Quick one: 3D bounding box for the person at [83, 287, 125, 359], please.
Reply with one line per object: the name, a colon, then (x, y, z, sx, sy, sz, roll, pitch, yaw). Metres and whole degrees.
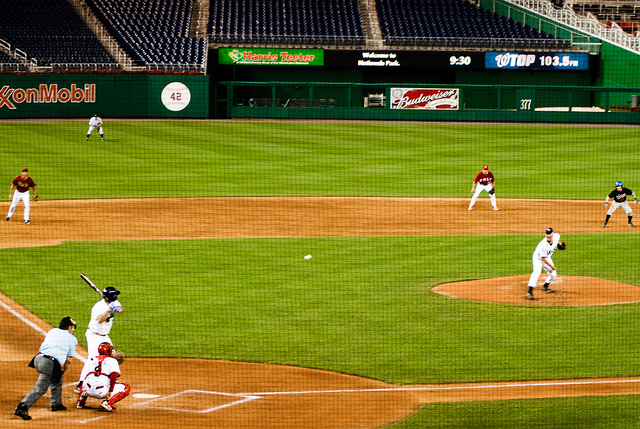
person: (-7.218, 3.981, 40.188, 1.059, 2.437, 1.252, 9, 10, 44)

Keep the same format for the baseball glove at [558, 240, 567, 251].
baseball glove: (9.693, 1.238, 46.768, 0.307, 0.471, 0.750, 7, 27, 13)

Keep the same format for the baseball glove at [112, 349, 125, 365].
baseball glove: (-6.789, 4.862, 39.943, 0.356, 0.421, 0.434, 2, 7, -1)

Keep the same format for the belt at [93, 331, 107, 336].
belt: (-7.455, 4.027, 40.026, 0.421, 0.160, 0.083, 1, 7, -9)

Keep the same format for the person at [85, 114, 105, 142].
person: (-11.897, -4.527, 62.603, 1.025, 1.357, 2.023, 1, 6, -11)
